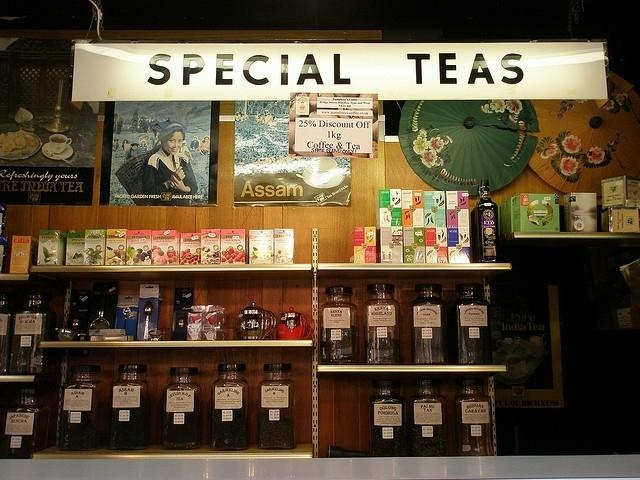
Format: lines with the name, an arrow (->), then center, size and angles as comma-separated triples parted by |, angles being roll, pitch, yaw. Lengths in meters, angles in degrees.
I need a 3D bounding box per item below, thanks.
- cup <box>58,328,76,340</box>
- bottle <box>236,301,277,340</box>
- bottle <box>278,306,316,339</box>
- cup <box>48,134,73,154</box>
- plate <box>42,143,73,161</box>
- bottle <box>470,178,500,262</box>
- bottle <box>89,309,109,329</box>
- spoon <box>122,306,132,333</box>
cup -> -1.665, 0.624, 3.726 | 0.084, 0.038, 0.081 | 2, -16, 0
bottle -> -0.430, 0.554, 3.775 | 0.242, 0.239, 0.245 | -1, 4, 4
bottle -> -0.169, 0.554, 3.754 | 0.224, 0.212, 0.164 | 5, -12, -15
cup -> -1.914, -0.713, 4.206 | 0.161, 0.101, 0.125 | 5, -8, -25
plate -> -1.931, -0.648, 4.199 | 0.233, 0.136, 0.036 | 0, 3, 8
bottle -> 1.093, -0.126, 3.790 | 0.173, 0.540, 0.231 | 0, 4, 15
bottle -> -1.496, 0.543, 3.869 | 0.124, 0.116, 0.124 | -2, 4, -19
spoon -> -1.315, 0.552, 3.887 | 0.050, 0.164, 0.086 | -2, 4, -19
